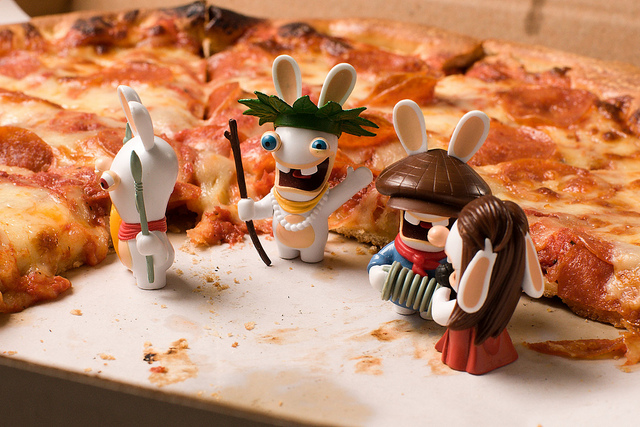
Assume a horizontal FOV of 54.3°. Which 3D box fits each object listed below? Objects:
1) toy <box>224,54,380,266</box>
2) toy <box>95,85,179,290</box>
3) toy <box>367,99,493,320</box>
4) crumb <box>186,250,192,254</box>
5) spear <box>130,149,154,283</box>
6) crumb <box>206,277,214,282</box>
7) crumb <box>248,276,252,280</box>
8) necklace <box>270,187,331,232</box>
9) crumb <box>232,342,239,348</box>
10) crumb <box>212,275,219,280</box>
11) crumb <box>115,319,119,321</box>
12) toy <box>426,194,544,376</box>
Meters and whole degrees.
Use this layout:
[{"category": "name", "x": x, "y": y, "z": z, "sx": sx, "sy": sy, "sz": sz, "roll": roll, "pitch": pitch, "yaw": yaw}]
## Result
[{"category": "toy", "x": -0.088, "y": -0.211, "z": 2.882, "sx": 0.539, "sy": 0.978, "sz": 0.450, "roll": -3, "pitch": 11, "yaw": -4}, {"category": "toy", "x": -0.768, "y": -0.095, "z": 2.677, "sx": 0.340, "sy": 0.821, "sz": 0.627, "roll": -5, "pitch": 19, "yaw": -23}, {"category": "toy", "x": 0.455, "y": -0.019, "z": 2.617, "sx": 0.488, "sy": 0.855, "sz": 0.424, "roll": 9, "pitch": 19, "yaw": 25}, {"category": "crumb", "x": -0.595, "y": 0.173, "z": 2.842, "sx": 0.025, "sy": 0.013, "sz": 0.005, "roll": 4, "pitch": -11, "yaw": -14}, {"category": "spear", "x": -0.715, "y": 0.019, "z": 2.531, "sx": 0.046, "sy": 0.538, "sz": 0.180, "roll": -8, "pitch": 34, "yaw": -16}, {"category": "crumb", "x": -0.477, "y": 0.282, "z": 2.703, "sx": 0.017, "sy": 0.005, "sz": 0.016, "roll": 4, "pitch": 20, "yaw": -6}, {"category": "crumb", "x": -0.305, "y": 0.278, "z": 2.728, "sx": 0.015, "sy": 0.014, "sz": 0.004, "roll": -1, "pitch": -9, "yaw": 1}, {"category": "necklace", "x": -0.087, "y": -0.023, "z": 2.758, "sx": 0.227, "sy": 0.192, "sz": 0.158, "roll": -8, "pitch": 10, "yaw": -33}, {"category": "crumb", "x": -0.328, "y": 0.504, "z": 2.418, "sx": 0.020, "sy": 0.005, "sz": 0.023, "roll": 2, "pitch": 32, "yaw": -3}, {"category": "crumb", "x": -0.455, "y": 0.276, "z": 2.713, "sx": 0.016, "sy": 0.004, "sz": 0.016, "roll": 4, "pitch": 18, "yaw": -1}, {"category": "crumb", "x": -0.803, "y": 0.419, "z": 2.482, "sx": 0.014, "sy": 0.001, "sz": 0.006, "roll": 2, "pitch": 32, "yaw": -3}, {"category": "toy", "x": 0.587, "y": 0.253, "z": 2.405, "sx": 0.402, "sy": 0.648, "sz": 0.501, "roll": 4, "pitch": 28, "yaw": -26}]
